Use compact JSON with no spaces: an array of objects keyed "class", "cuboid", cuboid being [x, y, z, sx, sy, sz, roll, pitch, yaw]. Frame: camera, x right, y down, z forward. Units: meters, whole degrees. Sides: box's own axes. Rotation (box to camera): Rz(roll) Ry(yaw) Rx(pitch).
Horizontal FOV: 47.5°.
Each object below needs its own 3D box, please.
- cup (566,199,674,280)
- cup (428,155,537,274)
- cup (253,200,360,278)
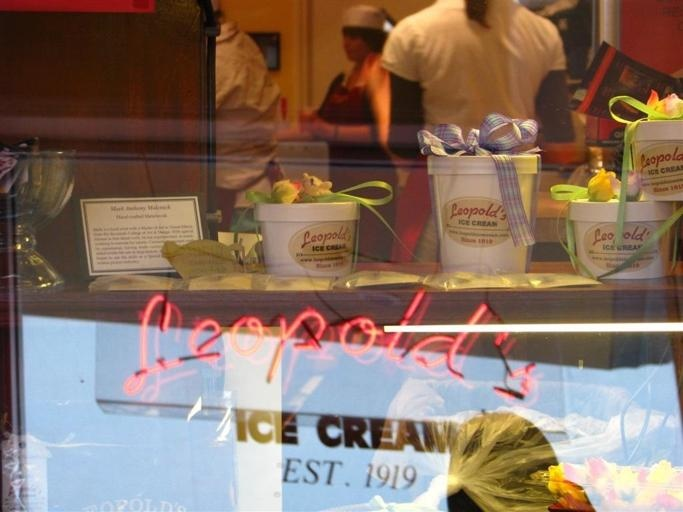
[{"class":"cup","cuboid":[0.391,-0.018,1.073,0.114,0.086,0.117,0,2,0]},{"class":"cup","cuboid":[0.206,-0.063,1.161,0.155,0.175,0.159,-1,3,0]},{"class":"cup","cuboid":[-0.042,-0.025,1.124,0.111,0.082,0.116,0,3,0]}]
